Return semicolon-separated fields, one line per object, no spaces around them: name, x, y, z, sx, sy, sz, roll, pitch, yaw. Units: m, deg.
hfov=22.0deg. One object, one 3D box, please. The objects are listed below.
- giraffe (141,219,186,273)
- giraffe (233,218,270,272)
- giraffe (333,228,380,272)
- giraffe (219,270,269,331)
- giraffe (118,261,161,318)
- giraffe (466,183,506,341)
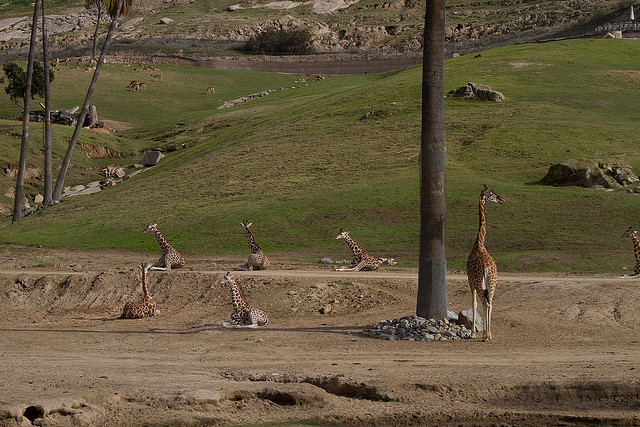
giraffe;-19.999;4.357;212.554;6.343;6.222;2.637;5;-5;-19
giraffe;-8.514;4.335;210.808;4.012;6.038;2.842;0;18;12
giraffe;5.307;4.791;211.193;5.360;5.300;2.306;-3;17;0
giraffe;-9.419;10.892;204.748;5.475;6.883;2.478;-3;17;2
giraffe;-22.588;9.537;207.338;3.035;6.591;6.310;4;3;39
giraffe;21.398;5.784;205.000;4.885;17.894;10.798;-2;17;6
